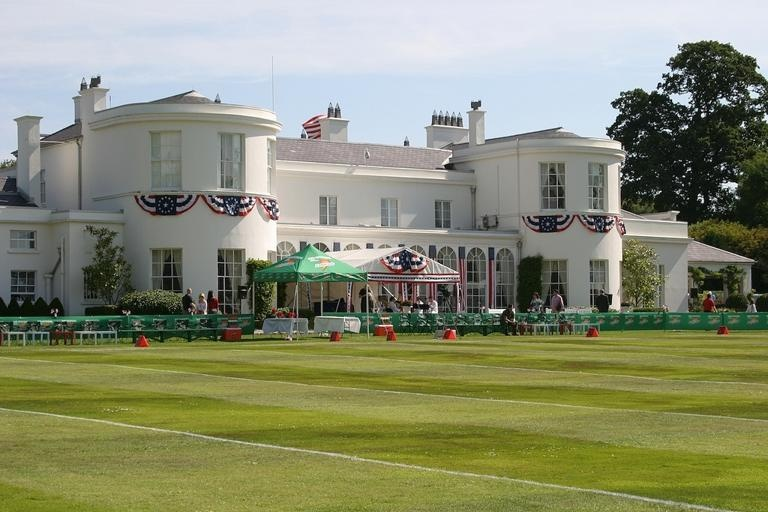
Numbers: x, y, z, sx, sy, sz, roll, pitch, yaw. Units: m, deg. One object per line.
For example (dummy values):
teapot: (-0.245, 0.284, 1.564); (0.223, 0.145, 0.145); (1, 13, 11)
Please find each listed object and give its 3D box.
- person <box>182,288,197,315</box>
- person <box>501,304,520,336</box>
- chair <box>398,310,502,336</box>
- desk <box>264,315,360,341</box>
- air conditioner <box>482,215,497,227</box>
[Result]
person: (-8.154, 1.786, 66.283); (0.496, 1.046, 1.175); (-1, -5, -7)
person: (5.408, 2.620, 68.228); (0.739, 1.303, 1.374); (-2, -5, 5)
chair: (2.725, 2.760, 67.640); (4.720, 0.981, 1.763); (0, -5, -15)
desk: (-2.687, 2.752, 64.064); (3.498, 1.012, 3.577); (-2, -5, 13)
air conditioner: (5.627, -1.939, 83.508); (0.569, 0.677, 0.987); (1, -2, -10)
